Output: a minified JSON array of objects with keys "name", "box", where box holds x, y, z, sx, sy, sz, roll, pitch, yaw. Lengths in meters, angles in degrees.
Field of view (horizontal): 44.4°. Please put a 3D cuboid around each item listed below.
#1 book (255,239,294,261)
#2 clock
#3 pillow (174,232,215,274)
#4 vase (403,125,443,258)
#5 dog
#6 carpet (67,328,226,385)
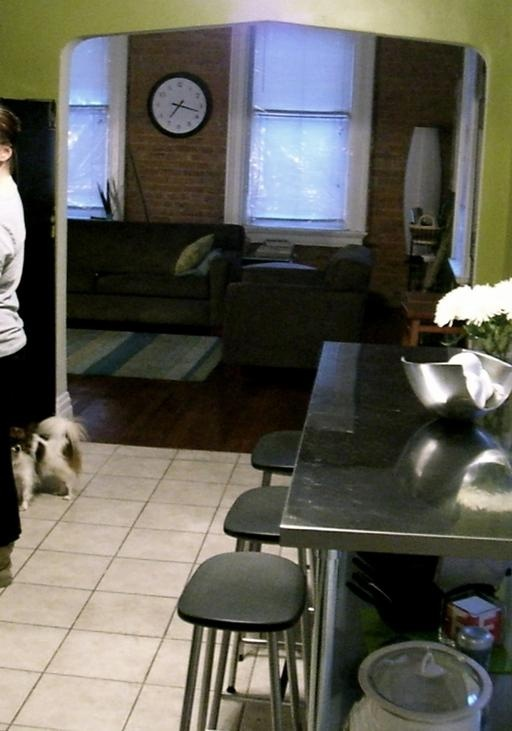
[{"name":"book","box":[0.235,-1.392,7.601,0.342,0.129,0.328,3,29,8]},{"name":"clock","box":[-0.928,-3.370,8.208,0.813,0.782,0.789,6,31,3]},{"name":"pillow","box":[-0.709,-1.255,7.140,0.432,0.450,0.461,0,13,-3]},{"name":"vase","box":[2.038,-2.132,7.717,0.462,1.505,0.300,4,14,10]},{"name":"dog","box":[-1.010,0.472,3.098,0.589,0.402,0.190,-22,-19,35]},{"name":"carpet","box":[-1.043,-0.108,6.010,1.459,0.114,1.915,-2,13,-16]}]
